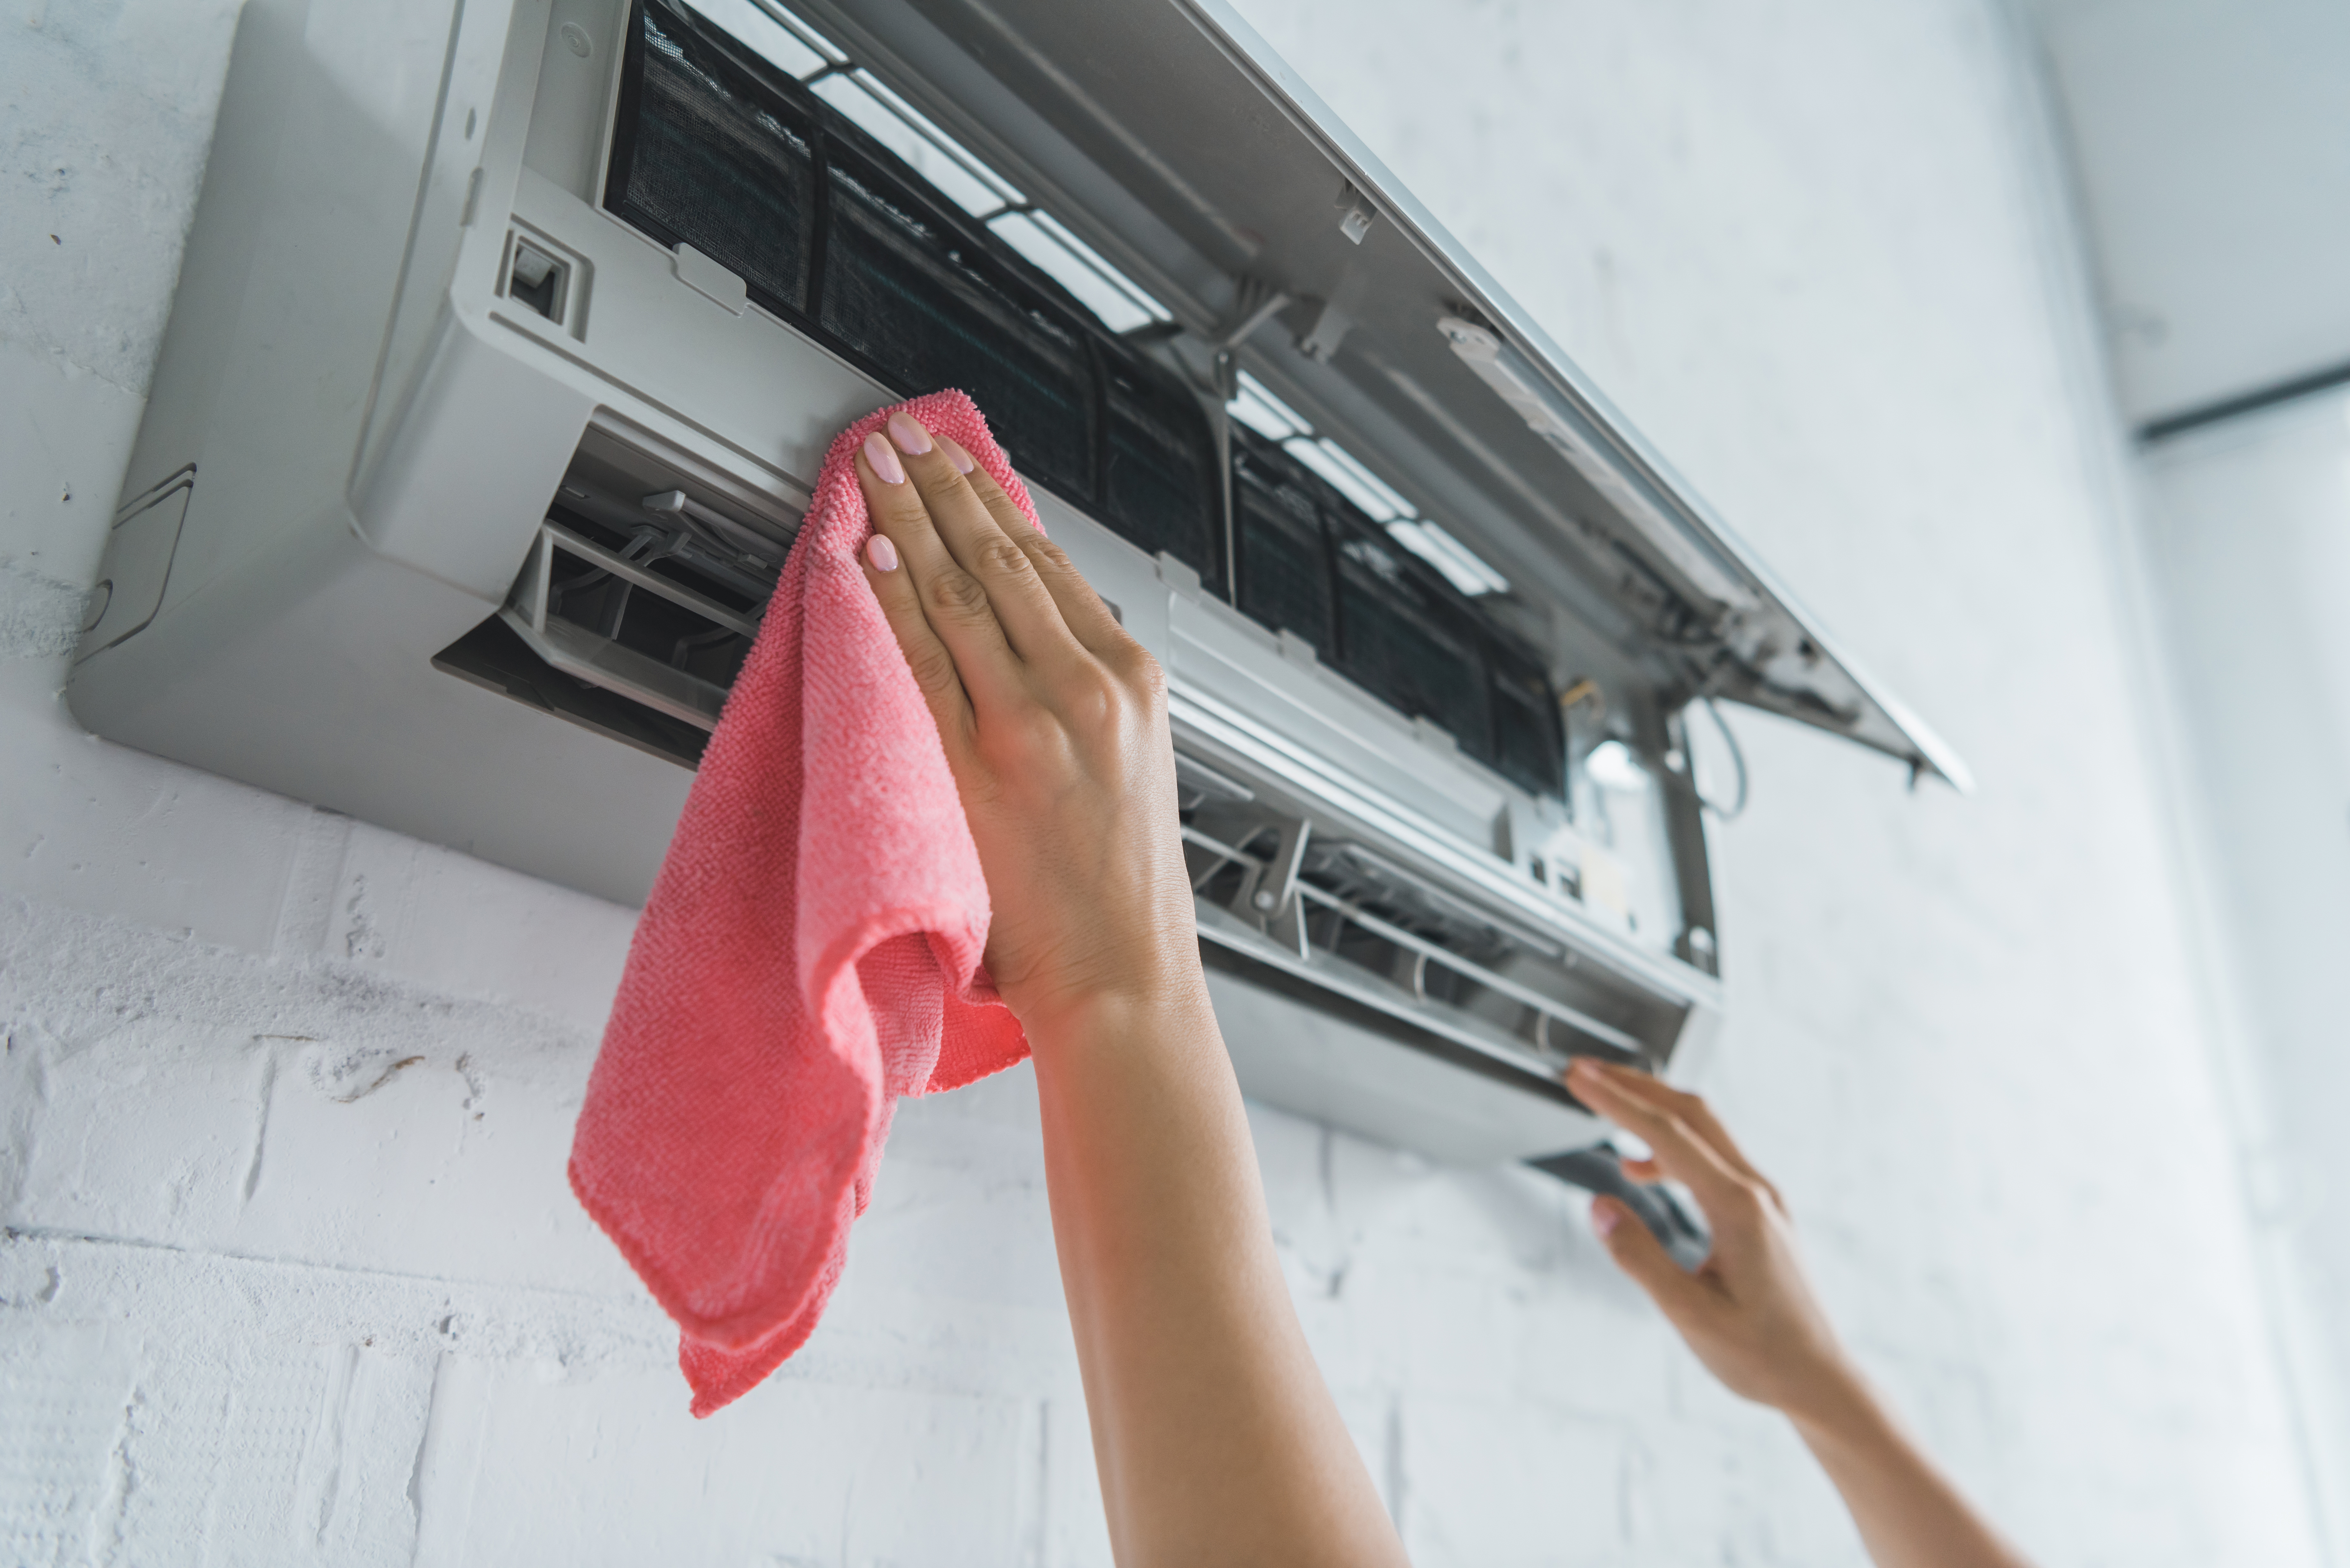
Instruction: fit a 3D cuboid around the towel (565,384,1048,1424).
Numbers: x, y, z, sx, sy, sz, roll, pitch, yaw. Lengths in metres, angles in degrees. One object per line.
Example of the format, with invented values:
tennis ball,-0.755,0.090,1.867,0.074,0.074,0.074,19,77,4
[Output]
towel,-0.170,0.038,0.851,0.195,0.499,0.159,4,-28,-1
